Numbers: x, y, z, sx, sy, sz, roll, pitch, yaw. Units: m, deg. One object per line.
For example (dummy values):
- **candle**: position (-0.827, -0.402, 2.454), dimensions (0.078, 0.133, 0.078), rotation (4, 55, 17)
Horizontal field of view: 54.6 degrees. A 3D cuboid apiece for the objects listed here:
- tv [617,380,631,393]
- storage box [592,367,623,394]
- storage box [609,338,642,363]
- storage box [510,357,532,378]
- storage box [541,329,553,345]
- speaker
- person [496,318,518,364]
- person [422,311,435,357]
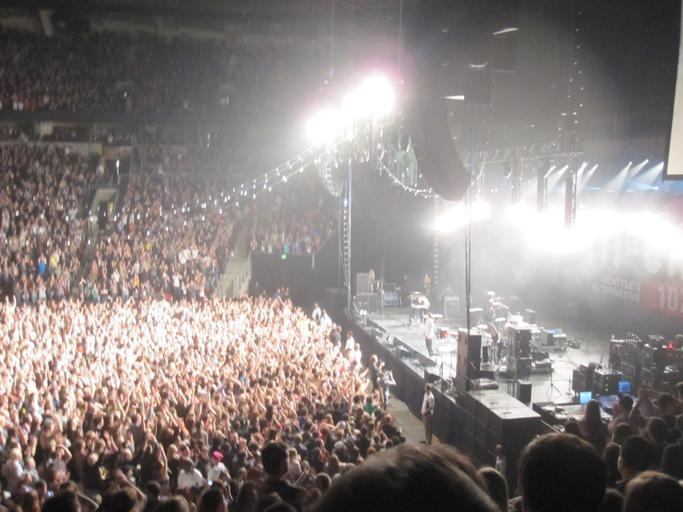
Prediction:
- **tv**: position (5.814, 2.685, 13.596), dimensions (0.238, 0.259, 0.133), rotation (0, 2, -5)
- **storage box**: position (5.523, 2.610, 13.634), dimensions (0.566, 0.440, 0.358), rotation (5, 12, -1)
- **storage box**: position (6.520, 2.253, 14.921), dimensions (0.394, 0.668, 0.626), rotation (0, 3, -17)
- **storage box**: position (3.987, 2.456, 14.657), dimensions (0.355, 0.534, 0.667), rotation (-1, -3, 4)
- **storage box**: position (5.512, 2.184, 17.653), dimensions (0.176, 0.347, 0.385), rotation (-6, 16, -39)
- **speaker**: position (1.327, -1.462, 9.007), dimensions (0.939, 1.369, 0.282), rotation (7, 13, 11)
- **person**: position (3.936, 2.054, 15.598), dimensions (0.342, 1.027, 1.025), rotation (0, -1, 8)
- **person**: position (2.261, 1.920, 16.686), dimensions (0.285, 1.119, 1.217), rotation (6, 12, 8)
